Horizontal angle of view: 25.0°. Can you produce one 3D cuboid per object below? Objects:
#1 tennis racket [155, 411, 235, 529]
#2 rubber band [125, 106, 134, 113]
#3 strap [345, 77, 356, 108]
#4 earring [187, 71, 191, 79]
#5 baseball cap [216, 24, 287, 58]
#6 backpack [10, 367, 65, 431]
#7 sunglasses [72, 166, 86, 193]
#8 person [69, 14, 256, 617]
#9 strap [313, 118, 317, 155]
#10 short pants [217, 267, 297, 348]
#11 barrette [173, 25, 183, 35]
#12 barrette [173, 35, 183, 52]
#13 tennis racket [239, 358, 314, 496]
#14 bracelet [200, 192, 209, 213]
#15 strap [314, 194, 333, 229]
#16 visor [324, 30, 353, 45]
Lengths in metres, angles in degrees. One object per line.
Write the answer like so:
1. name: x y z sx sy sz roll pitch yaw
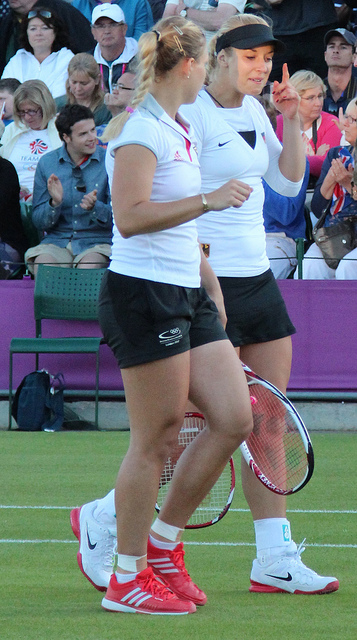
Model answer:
1. tennis racket: 0.100 0.597 2.988 0.389 0.501 0.093 0 -8 30
2. rubber band: -0.134 -0.582 2.235 0.020 0.006 0.020 40 8 8
3. strap: 1.762 -2.341 8.152 0.080 0.222 0.211 2 12 11
4. earring: 0.034 -0.698 2.300 0.010 0.015 0.009 -2 12 -11
5. baseball cap: 0.272 -0.981 2.836 0.207 0.132 0.180 14 26 41
6. backpack: -1.101 0.609 6.254 0.467 0.573 0.427 6 -6 -34
7. sunglasses: -0.834 -1.188 6.852 0.070 0.206 0.132 -8 14 -31
8. person: -0.032 0.058 2.469 0.622 1.904 0.707 -2 13 -7
9. strap: 1.231 -1.660 7.225 0.030 0.277 0.041 -2 -6 7
10. short pants: 0.265 -0.048 2.837 0.295 0.259 0.162 -12 5 27
11. barrette: 0.002 -0.825 2.296 0.019 0.030 0.037 -8 14 -33
12. barrette: 0.002 -0.778 2.273 0.014 0.058 0.006 -19 -10 -19
13. tennis racket: 0.348 0.361 2.637 0.304 0.434 0.303 -2 15 -9
14. bracelet: 0.075 -0.317 2.196 0.021 0.048 0.042 0 12 -1
15. strap: 1.118 -0.841 6.207 0.070 0.219 0.166 9 4 9
16. visor: 1.621 -2.849 8.145 0.293 0.135 0.162 5 13 22
